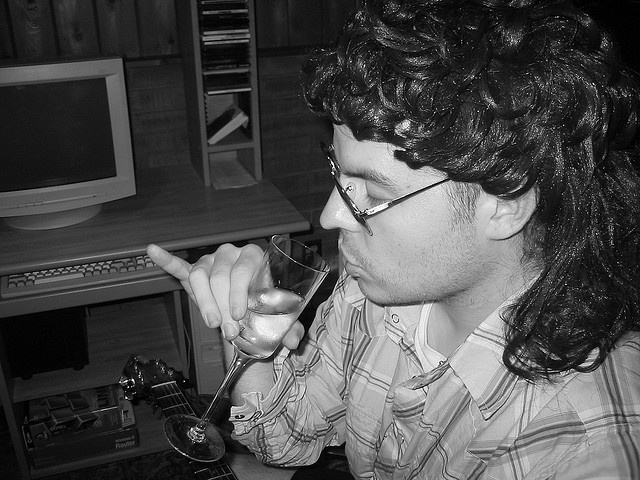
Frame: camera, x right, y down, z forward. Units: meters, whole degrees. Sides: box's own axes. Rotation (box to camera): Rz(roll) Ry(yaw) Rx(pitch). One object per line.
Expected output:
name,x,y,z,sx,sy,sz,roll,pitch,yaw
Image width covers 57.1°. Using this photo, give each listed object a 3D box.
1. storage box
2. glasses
storage box,-0.959,0.747,2.380,0.403,0.158,0.300,-12,28,-21
glasses,0.122,-0.092,1.186,0.198,0.062,0.199,-25,42,-2
